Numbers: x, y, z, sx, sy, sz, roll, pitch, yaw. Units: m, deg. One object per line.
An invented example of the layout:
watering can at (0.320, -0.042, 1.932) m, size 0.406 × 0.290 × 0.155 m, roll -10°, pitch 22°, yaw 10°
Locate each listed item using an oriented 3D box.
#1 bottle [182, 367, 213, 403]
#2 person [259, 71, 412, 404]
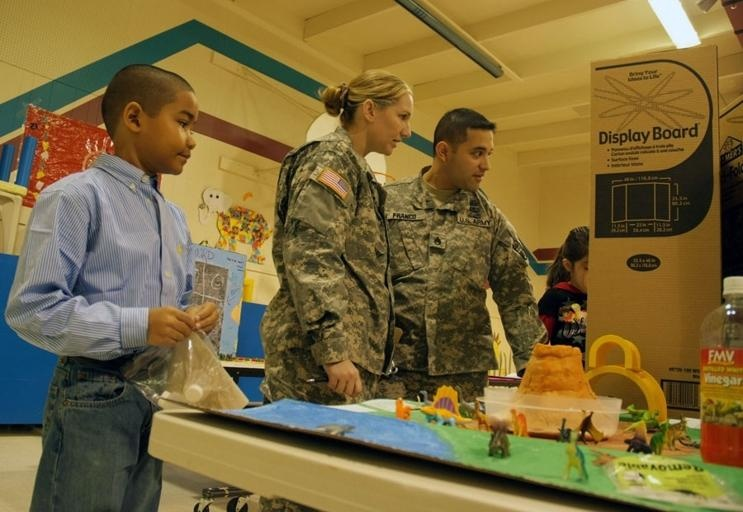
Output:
bottle at (-0.368, 0.276, 1.132) m, size 0.050 × 0.060 × 0.196 m, roll 11°, pitch -2°, yaw -13°
person at (-0.120, -0.102, 1.602) m, size 0.391 × 1.037 × 0.561 m, roll 0°, pitch 3°, yaw 10°
